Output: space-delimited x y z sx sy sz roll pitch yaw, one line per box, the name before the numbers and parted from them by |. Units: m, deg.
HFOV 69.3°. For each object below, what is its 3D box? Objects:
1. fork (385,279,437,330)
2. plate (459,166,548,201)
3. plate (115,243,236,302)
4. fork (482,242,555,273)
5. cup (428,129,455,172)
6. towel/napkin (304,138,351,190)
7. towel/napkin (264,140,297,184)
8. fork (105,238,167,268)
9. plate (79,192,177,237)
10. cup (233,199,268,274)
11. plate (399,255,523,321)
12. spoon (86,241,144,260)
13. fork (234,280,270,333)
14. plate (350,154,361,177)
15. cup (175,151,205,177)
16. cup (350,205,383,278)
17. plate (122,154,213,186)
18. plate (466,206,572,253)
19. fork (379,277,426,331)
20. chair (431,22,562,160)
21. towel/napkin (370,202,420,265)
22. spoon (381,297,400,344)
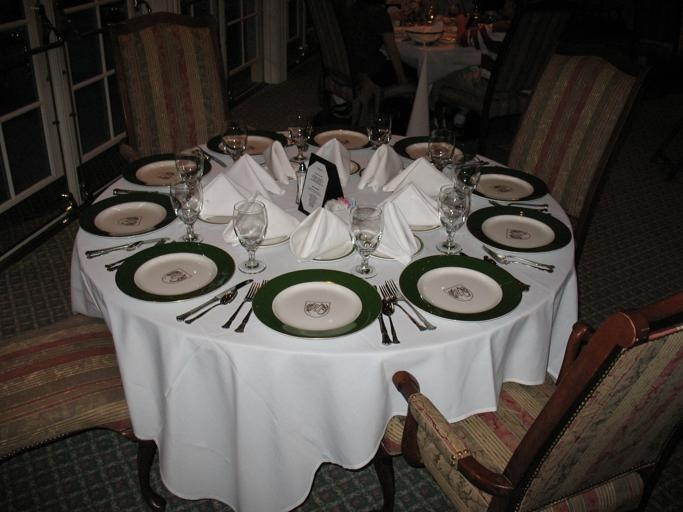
fork | 0.213 0.157 1.535 0.026 0.031 0.195 -8 41 -34
plate | 0.716 -0.296 2.184 0.375 0.051 0.404 10 29 22
plate | -0.566 0.064 1.714 0.357 0.365 0.042 15 46 -55
fork | 0.623 0.011 1.746 0.173 0.034 0.031 24 63 19
cup | 0.459 -0.474 2.274 0.093 0.276 0.109 -7 43 -3
towel/napkin | -0.032 -0.395 2.193 0.133 0.115 0.227 10 49 9
towel/napkin | -0.277 -0.437 2.268 0.109 0.299 0.098 -22 75 -8
fork | -0.718 -0.026 1.777 0.069 0.031 0.260 22 39 38
plate | -0.839 -0.168 1.953 0.231 0.028 0.233 27 40 23
cup | -0.305 -0.062 1.680 0.135 0.227 0.139 5 14 -1
plate | 0.398 0.108 1.598 0.220 0.032 0.257 -7 37 -15
spoon | -0.807 -0.016 1.755 0.121 0.021 0.023 -19 37 -21
fork | -0.270 0.126 1.538 0.032 0.029 0.250 4 59 25
plate | 0.064 -0.412 2.317 0.069 0.035 0.075 18 61 14
cup | -0.619 -0.362 2.043 0.114 0.106 0.110 2 33 -1
cup | 0.083 -0.045 1.628 0.101 0.230 0.100 1 40 0
plate | -0.799 -0.371 2.267 0.332 0.042 0.376 10 30 0
plate | 0.699 -0.106 1.936 0.410 0.453 0.049 7 66 26
fork | 0.182 0.147 1.545 0.059 0.038 0.265 -13 47 -19
chair | 1.269 -1.639 4.417 0.837 1.243 0.968 -3 53 -2
towel/napkin | 0.196 -0.103 1.705 0.158 0.088 0.193 -2 35 -4
spoon | 0.147 0.194 1.494 0.026 0.022 0.143 3 50 -14
